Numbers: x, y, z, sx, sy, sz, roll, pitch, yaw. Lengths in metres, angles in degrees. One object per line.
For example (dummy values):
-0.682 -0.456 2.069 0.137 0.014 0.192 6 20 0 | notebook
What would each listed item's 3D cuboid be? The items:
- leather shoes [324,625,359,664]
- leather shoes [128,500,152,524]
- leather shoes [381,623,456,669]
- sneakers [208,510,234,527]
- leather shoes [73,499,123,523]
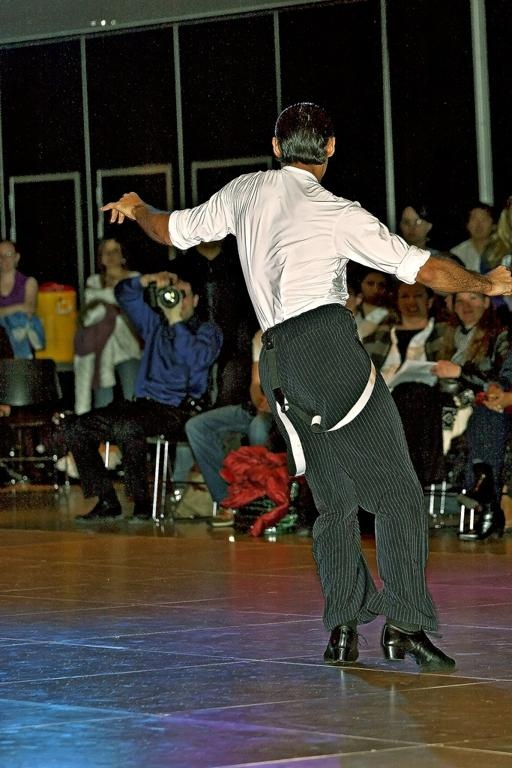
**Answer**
0.218 0.669 2.180 0.062 0.051 0.119 3 35 6 | leather shoes
-0.858 0.945 6.204 0.184 0.151 0.143 3 -12 -15 | leather shoes
0.388 0.659 2.089 0.199 0.081 0.074 7 0 20 | leather shoes
-0.251 0.979 6.070 0.143 0.045 0.179 -1 12 2 | sneakers
-1.186 0.953 6.225 0.379 0.200 0.135 2 -6 -5 | leather shoes
